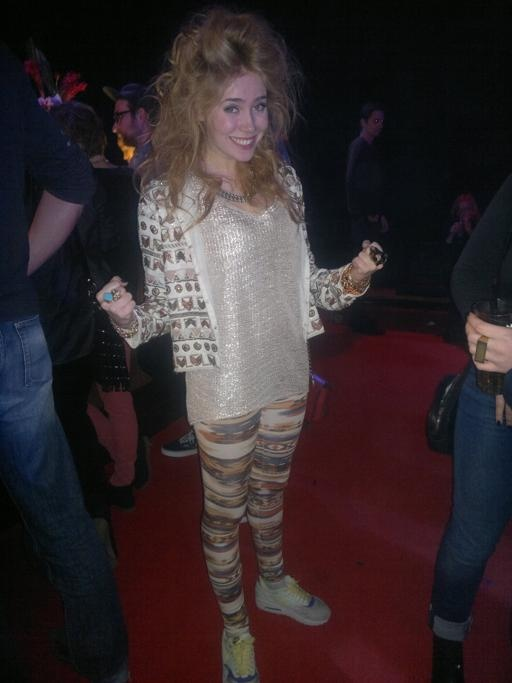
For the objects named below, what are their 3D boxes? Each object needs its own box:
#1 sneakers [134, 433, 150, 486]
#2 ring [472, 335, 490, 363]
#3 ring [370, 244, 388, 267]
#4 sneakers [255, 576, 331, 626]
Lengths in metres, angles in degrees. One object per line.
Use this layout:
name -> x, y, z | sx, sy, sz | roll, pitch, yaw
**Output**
sneakers -> -0.521, 0.544, 2.547 | 0.071, 0.210, 0.085 | 3, 2, 11
ring -> 0.486, 0.019, 1.190 | 0.024, 0.063, 0.012 | 14, 25, 32
ring -> 0.321, -0.223, 1.447 | 0.016, 0.034, 0.051 | 15, 37, -55
sneakers -> 0.125, 0.842, 1.885 | 0.289, 0.138, 0.115 | 9, 20, 8
